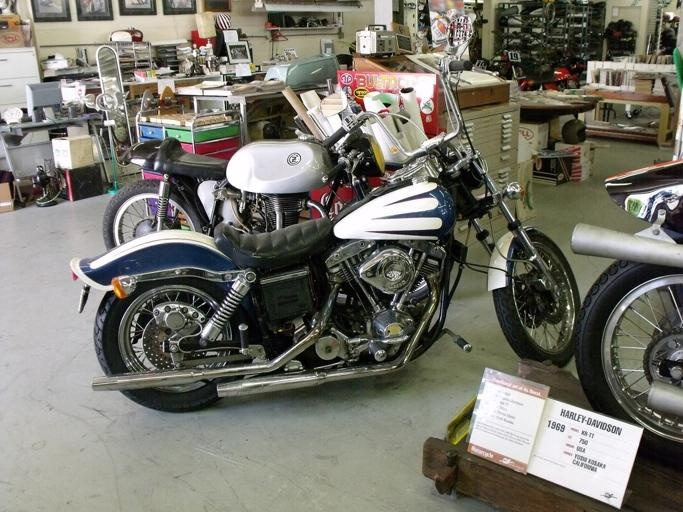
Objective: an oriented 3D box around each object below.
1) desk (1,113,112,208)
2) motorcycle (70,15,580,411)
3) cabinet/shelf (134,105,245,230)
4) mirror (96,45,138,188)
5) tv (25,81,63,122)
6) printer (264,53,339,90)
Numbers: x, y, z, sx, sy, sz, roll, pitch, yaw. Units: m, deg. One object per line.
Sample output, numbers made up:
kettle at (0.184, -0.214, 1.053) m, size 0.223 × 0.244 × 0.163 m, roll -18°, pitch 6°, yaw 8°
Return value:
desk at (-3.334, -1.118, 6.107) m, size 1.097 × 0.852 × 0.940 m, roll -13°, pitch 27°, yaw -20°
motorcycle at (0.064, -0.405, 2.995) m, size 2.750 × 1.949 × 1.375 m, roll -9°, pitch 21°, yaw -14°
cabinet/shelf at (-1.391, -0.991, 4.708) m, size 0.775 × 0.884 × 0.648 m, roll 10°, pitch 25°, yaw 29°
mirror at (-2.490, -1.549, 5.668) m, size 0.295 × 1.489 × 0.265 m, roll -3°, pitch 9°, yaw 17°
tv at (-3.328, -1.737, 5.720) m, size 0.294 × 0.388 × 0.217 m, roll -19°, pitch 33°, yaw -41°
printer at (-0.310, -2.104, 5.742) m, size 1.045 × 0.430 × 0.579 m, roll -16°, pitch 30°, yaw -34°
